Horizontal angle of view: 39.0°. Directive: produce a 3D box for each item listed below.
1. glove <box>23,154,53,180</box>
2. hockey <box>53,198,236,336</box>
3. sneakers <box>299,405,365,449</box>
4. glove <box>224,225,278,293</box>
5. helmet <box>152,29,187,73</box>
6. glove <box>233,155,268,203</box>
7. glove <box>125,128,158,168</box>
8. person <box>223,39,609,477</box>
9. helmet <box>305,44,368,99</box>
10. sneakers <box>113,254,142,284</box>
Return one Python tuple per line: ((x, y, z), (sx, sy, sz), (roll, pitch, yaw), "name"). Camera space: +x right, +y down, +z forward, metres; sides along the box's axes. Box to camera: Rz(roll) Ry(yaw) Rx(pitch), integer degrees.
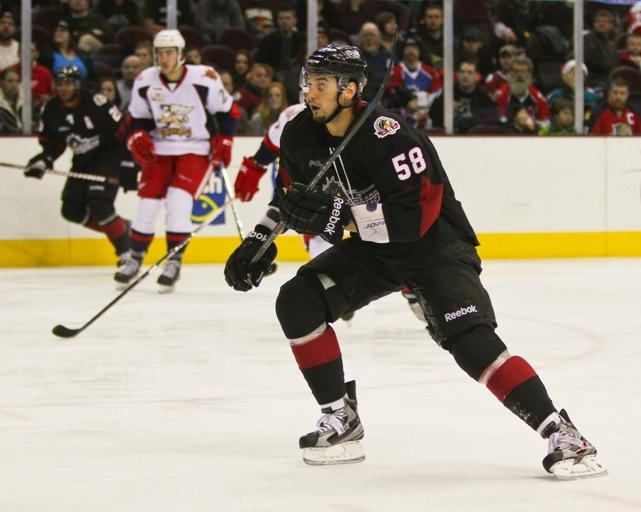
((-2.002, -0.647, 6.494), (0.163, 0.074, 0.215), (-30, 7, 38), "glove")
((-1.224, 0.063, 6.059), (1.358, 0.118, 0.197), (-34, 20, -18), "hockey")
((0.036, 0.564, 3.031), (0.272, 0.141, 0.108), (-4, 1, -34), "sneakers")
((-0.194, 0.005, 3.200), (0.151, 0.253, 0.102), (25, -19, 37), "glove")
((-1.000, -1.394, 6.010), (0.221, 0.242, 0.273), (-2, 8, 8), "helmet")
((-0.385, -0.396, 4.666), (0.157, 0.233, 0.099), (24, 15, -29), "glove")
((-1.154, -0.715, 5.927), (0.151, 0.245, 0.104), (-31, -7, 22), "glove")
((0.313, 0.000, 2.990), (1.333, 1.385, 0.779), (-1, -2, 28), "person")
((0.031, -0.628, 3.097), (0.261, 0.198, 0.190), (-9, 19, -32), "helmet")
((-1.321, 0.086, 6.229), (0.105, 0.132, 0.313), (27, 8, 0), "sneakers")
